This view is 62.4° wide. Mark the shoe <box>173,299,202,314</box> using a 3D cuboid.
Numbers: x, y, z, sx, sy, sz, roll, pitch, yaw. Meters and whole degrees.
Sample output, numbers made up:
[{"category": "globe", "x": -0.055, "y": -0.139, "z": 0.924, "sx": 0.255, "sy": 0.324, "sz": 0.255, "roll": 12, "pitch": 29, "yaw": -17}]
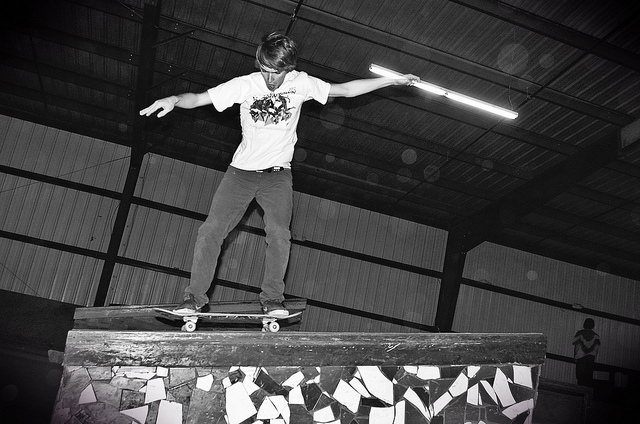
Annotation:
[{"category": "shoe", "x": -2.189, "y": 1.588, "z": 8.822, "sx": 0.386, "sy": 0.148, "sz": 0.214, "roll": 8, "pitch": -20, "yaw": -12}]
